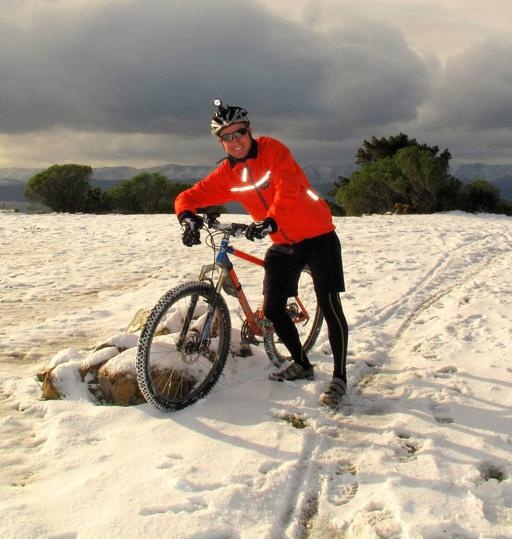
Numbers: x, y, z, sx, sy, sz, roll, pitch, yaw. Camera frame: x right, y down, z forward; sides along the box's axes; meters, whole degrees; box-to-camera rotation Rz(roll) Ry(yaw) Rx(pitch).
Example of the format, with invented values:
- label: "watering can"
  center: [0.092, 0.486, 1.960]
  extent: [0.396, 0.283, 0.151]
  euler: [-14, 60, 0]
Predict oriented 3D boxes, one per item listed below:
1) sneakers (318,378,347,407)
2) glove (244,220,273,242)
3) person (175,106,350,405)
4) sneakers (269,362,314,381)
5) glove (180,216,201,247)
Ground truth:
- label: "sneakers"
  center: [0.608, 0.970, 3.635]
  extent: [0.161, 0.156, 0.281]
  euler: [5, 11, 21]
- label: "glove"
  center: [0.016, -0.282, 3.257]
  extent: [0.143, 0.068, 0.182]
  euler: [2, 21, 35]
- label: "person"
  center: [0.078, -0.134, 3.587]
  extent: [1.510, 2.193, 1.063]
  euler: [1, -8, -20]
- label: "sneakers"
  center: [0.331, 0.886, 3.991]
  extent: [0.462, 0.162, 0.142]
  euler: [4, -3, -13]
- label: "glove"
  center: [-0.503, -0.291, 3.591]
  extent: [0.166, 0.224, 0.097]
  euler: [-5, -10, -8]
